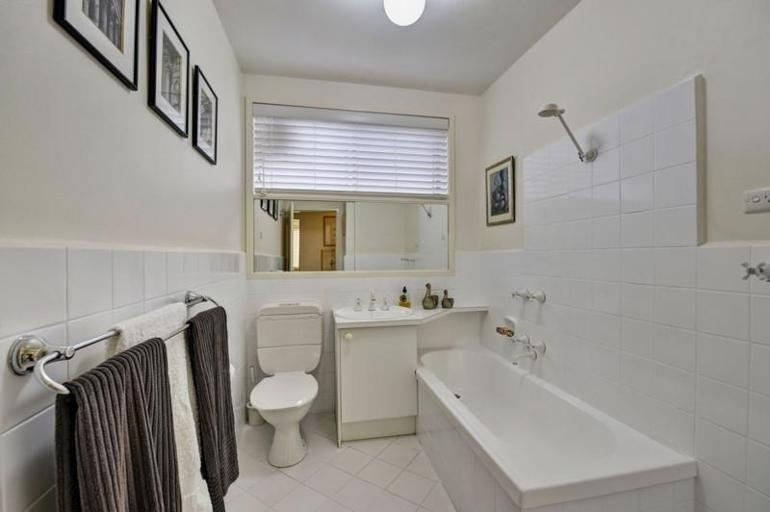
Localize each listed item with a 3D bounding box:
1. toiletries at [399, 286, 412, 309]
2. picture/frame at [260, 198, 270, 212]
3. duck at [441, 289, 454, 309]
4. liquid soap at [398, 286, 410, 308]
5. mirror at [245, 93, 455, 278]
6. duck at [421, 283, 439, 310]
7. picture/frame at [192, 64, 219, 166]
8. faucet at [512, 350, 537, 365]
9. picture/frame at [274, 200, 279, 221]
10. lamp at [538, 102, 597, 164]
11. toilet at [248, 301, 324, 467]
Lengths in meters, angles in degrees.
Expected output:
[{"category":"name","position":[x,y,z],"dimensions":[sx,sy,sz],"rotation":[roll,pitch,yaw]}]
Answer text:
[{"category":"toiletries","position":[0.153,0.332,4.015],"dimensions":[0.129,0.262,0.136],"rotation":[0,-6,0]},{"category":"picture/frame","position":[-0.938,-0.398,3.874],"dimensions":[0.076,0.077,0.022],"rotation":[6,1,-5]},{"category":"duck","position":[0.496,0.358,4.049],"dimensions":[0.090,0.153,0.145],"rotation":[-2,-5,23]},{"category":"liquid soap","position":[0.159,0.332,4.025],"dimensions":[0.099,0.168,0.122],"rotation":[-3,2,1]},{"category":"mirror","position":[-0.352,-0.572,3.988],"dimensions":[1.363,1.210,0.230],"rotation":[0,3,-11]},{"category":"duck","position":[0.368,0.324,4.029],"dimensions":[0.129,0.200,0.146],"rotation":[-3,2,7]},{"category":"picture/frame","position":[-1.085,-0.838,2.990],"dimensions":[0.021,0.461,0.577],"rotation":[-4,22,-33]},{"category":"faucet","position":[0.966,0.701,3.409],"dimensions":[0.162,0.074,0.067],"rotation":[-14,1,-11]},{"category":"picture/frame","position":[-0.845,-0.357,3.893],"dimensions":[0.048,0.160,0.014],"rotation":[-4,3,-22]},{"category":"lamp","position":[1.104,-0.731,2.944],"dimensions":[0.289,0.370,0.546],"rotation":[-2,2,24]},{"category":"toilet","position":[-0.657,0.861,3.454],"dimensions":[0.495,1.007,0.710],"rotation":[-3,2,-9]}]
